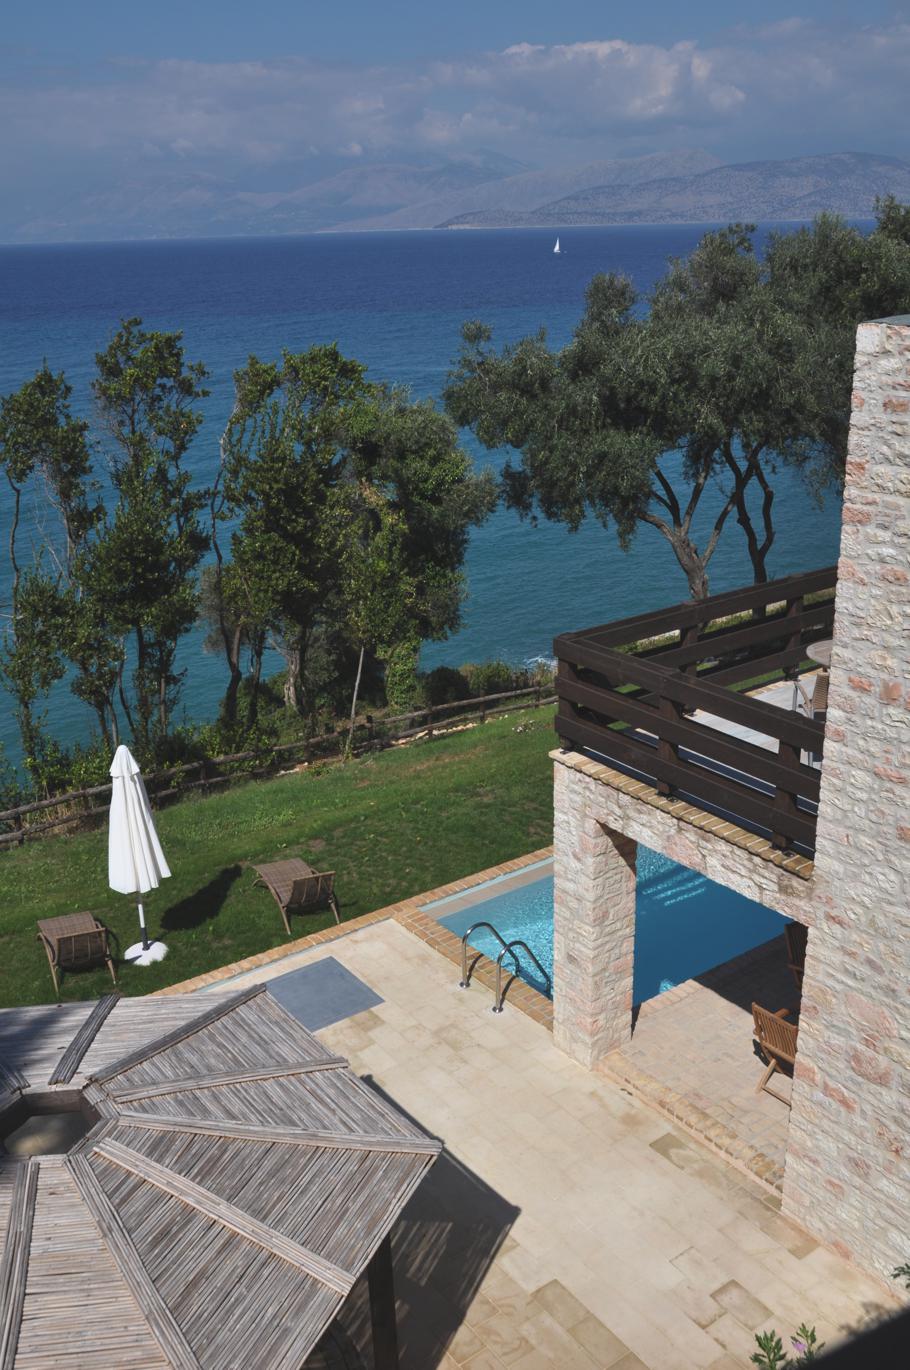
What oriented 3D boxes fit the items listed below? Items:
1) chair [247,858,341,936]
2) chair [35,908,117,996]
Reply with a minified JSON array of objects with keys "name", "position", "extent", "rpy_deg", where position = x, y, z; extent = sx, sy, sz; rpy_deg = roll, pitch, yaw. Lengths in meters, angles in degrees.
[{"name":"chair","position":[-2.291,2.773,15.782],"extent":[0.728,0.652,1.320],"rpy_deg":[-6,31,-22]},{"name":"chair","position":[-5.047,3.564,14.682],"extent":[0.779,0.747,1.315],"rpy_deg":[-7,40,-23]}]
